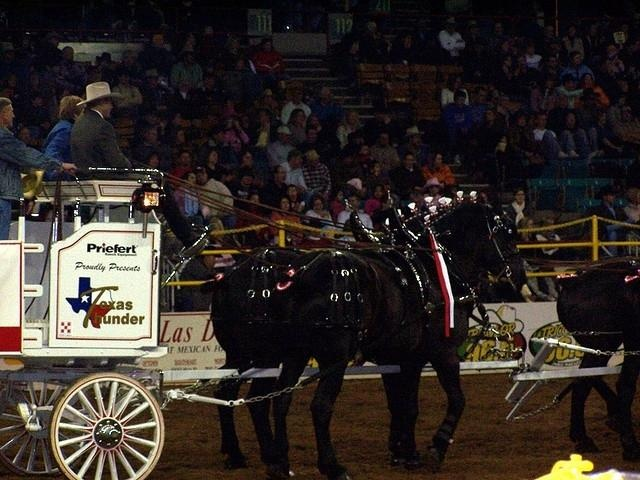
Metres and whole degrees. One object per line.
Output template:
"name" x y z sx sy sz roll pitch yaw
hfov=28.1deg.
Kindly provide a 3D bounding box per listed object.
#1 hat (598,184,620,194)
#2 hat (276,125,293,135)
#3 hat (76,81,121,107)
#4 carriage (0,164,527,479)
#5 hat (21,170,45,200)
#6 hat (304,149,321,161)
"hat" 6.531 -1.144 28.766 0.383 0.099 0.392 -1 -3 32
"hat" -0.739 -2.323 26.901 0.291 0.108 0.190 0 8 25
"hat" -3.083 -2.126 18.259 0.459 0.173 0.545 -11 2 40
"carriage" -0.864 1.200 17.798 6.876 4.422 2.502 -3 12 -27
"hat" -3.963 -0.769 17.626 0.280 0.374 0.414 0 10 -12
"hat" -0.157 -1.791 26.677 0.293 0.218 0.494 1 8 -1
